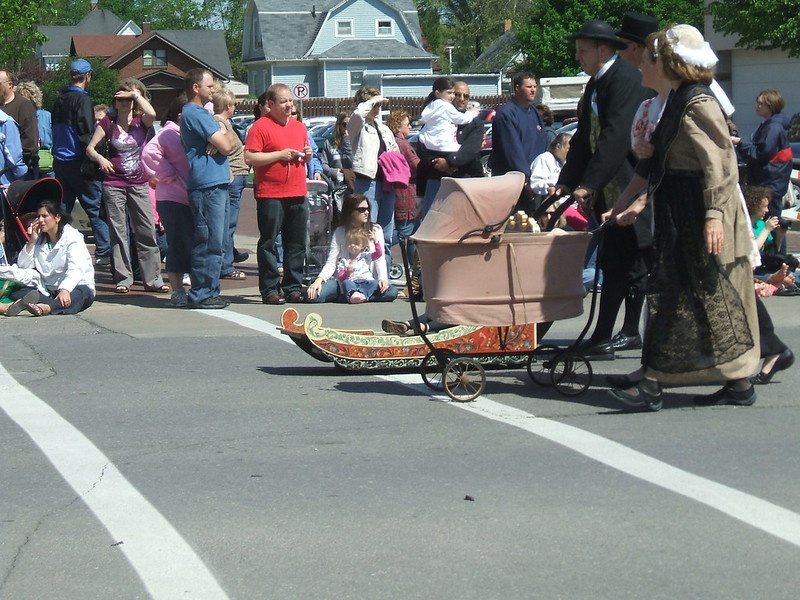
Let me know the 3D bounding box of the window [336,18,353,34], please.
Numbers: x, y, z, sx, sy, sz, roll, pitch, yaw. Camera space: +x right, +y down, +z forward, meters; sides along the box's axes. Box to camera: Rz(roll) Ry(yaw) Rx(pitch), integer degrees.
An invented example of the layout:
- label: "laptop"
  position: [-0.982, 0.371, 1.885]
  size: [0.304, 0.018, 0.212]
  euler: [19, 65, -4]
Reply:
- label: "window"
  position: [-3.323, -16.196, 67.289]
  size: [1.162, 0.863, 0.113]
  euler: [-1, 20, -4]

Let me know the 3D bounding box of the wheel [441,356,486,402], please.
- label: "wheel"
  position: [0.422, 0.523, 7.654]
  size: [0.353, 0.302, 0.051]
  euler: [-1, -4, -23]

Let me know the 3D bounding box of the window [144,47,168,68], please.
- label: "window"
  position: [-16.741, -16.679, 78.496]
  size: [1.683, 1.115, 0.161]
  euler: [2, 8, 26]

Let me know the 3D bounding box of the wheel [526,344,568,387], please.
- label: "wheel"
  position: [1.020, 0.449, 8.026]
  size: [0.329, 0.279, 0.072]
  euler: [-9, 16, -20]

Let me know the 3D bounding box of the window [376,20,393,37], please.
- label: "window"
  position: [-0.943, -16.307, 68.367]
  size: [1.178, 0.956, 0.350]
  euler: [-1, -1, -2]

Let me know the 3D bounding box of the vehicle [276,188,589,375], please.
- label: "vehicle"
  position: [-0.380, 0.009, 8.640]
  size: [3.314, 1.649, 1.022]
  euler: [1, 4, -7]

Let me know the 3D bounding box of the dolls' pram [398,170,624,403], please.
- label: "dolls' pram"
  position: [0.937, -0.123, 7.660]
  size: [1.323, 1.433, 1.056]
  euler: [-4, 4, 37]
